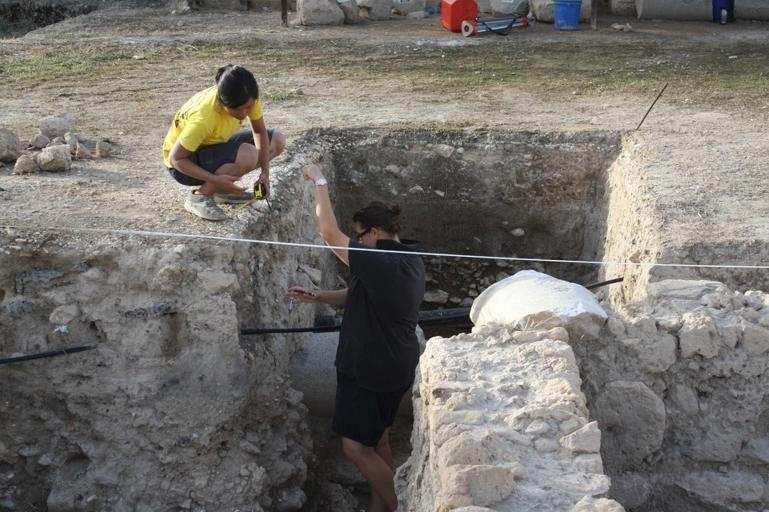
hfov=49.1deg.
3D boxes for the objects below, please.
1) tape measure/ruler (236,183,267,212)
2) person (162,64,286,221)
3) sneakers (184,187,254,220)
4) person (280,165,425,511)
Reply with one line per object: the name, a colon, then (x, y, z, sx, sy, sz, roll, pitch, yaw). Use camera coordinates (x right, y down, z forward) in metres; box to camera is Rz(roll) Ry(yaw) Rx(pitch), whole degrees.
tape measure/ruler: (-1.002, -0.452, 6.442, 0.244, 0.089, 0.129, -29, 45, 15)
person: (-1.240, -0.849, 6.293, 0.820, 1.135, 0.711, -3, 16, -7)
sneakers: (-1.341, -0.396, 6.361, 0.300, 0.110, 0.365, 17, 25, 21)
person: (-0.131, 0.667, 5.965, 0.765, 2.382, 0.620, 4, 17, 16)
